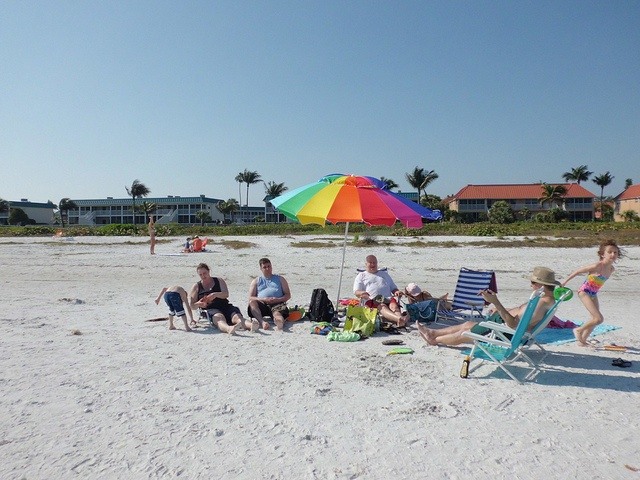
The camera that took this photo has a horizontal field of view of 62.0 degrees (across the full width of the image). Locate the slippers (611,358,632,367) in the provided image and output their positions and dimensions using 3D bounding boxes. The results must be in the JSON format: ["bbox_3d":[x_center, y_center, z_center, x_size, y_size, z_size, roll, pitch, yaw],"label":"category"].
[{"bbox_3d":[4.151,1.697,7.366,0.248,0.073,0.229,2,5,28],"label":"slippers"}]

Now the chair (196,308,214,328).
[{"bbox_3d":[-1.966,1.349,9.268,0.311,0.383,0.315,-3,-1,22],"label":"chair"}]

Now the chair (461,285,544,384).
[{"bbox_3d":[2.449,1.302,7.225,1.106,1.177,1.122,-1,6,-4],"label":"chair"}]

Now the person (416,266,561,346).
[{"bbox_3d":[2.296,0.994,7.650,2.033,0.914,1.013,-8,-5,25],"label":"person"}]

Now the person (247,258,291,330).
[{"bbox_3d":[-0.894,1.024,9.347,0.775,1.232,1.153,1,-12,-7],"label":"person"}]

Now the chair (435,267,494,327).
[{"bbox_3d":[2.725,0.983,9.859,0.795,0.922,1.033,3,-10,-11],"label":"chair"}]

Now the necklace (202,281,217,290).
[{"bbox_3d":[-1.848,0.733,9.033,0.172,0.159,0.067,-6,15,-5],"label":"necklace"}]

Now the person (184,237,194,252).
[{"bbox_3d":[-6.524,0.210,26.500,0.425,0.581,1.006,1,36,-3],"label":"person"}]

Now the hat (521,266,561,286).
[{"bbox_3d":[3.070,0.497,7.416,0.350,0.287,0.480,0,4,12],"label":"hat"}]

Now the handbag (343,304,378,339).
[{"bbox_3d":[0.658,1.338,8.693,0.483,0.189,0.448,4,43,10],"label":"handbag"}]

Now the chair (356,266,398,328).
[{"bbox_3d":[0.964,0.999,9.429,1.065,0.600,1.003,1,40,2],"label":"chair"}]

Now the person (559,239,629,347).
[{"bbox_3d":[4.257,0.777,8.352,0.754,1.578,1.172,2,5,29],"label":"person"}]

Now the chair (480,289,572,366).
[{"bbox_3d":[2.966,1.154,7.493,1.240,1.152,0.913,0,-6,33],"label":"chair"}]

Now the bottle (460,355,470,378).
[{"bbox_3d":[1.921,1.683,7.117,0.119,0.259,0.295,1,4,15],"label":"bottle"}]

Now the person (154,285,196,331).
[{"bbox_3d":[-2.340,1.101,9.051,0.745,0.905,0.702,-8,-16,-4],"label":"person"}]
